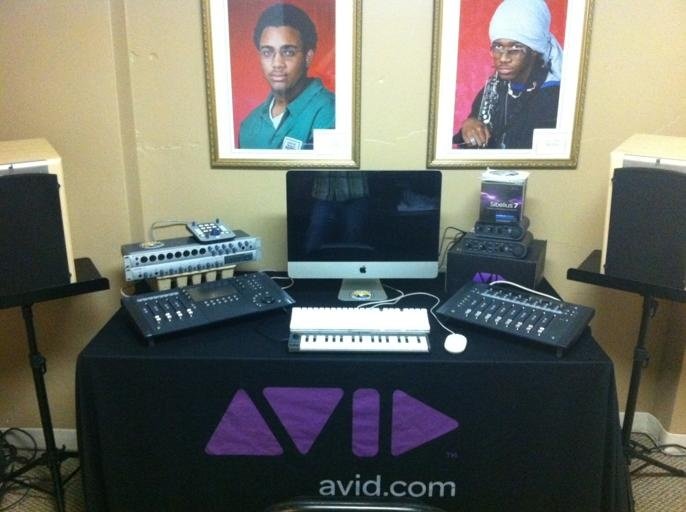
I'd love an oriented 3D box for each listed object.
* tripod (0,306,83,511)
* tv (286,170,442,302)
[{"bbox_3d":[-1.359,0.614,2.613,0.115,1.049,0.611,-11,25,-29],"label":"tripod"},{"bbox_3d":[0.092,-0.109,2.603,0.559,0.502,0.181,0,12,0],"label":"tv"}]
